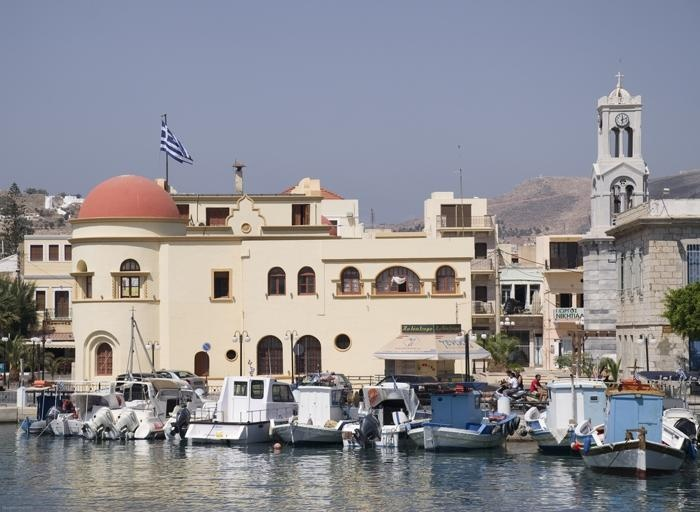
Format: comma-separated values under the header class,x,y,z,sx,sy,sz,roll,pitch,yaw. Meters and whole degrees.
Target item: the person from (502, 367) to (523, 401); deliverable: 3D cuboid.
class,x,y,z,sx,sy,sz,roll,pitch,yaw
person,10.390,8.078,115.185,1.141,1.274,1.913,-2,-10,13
